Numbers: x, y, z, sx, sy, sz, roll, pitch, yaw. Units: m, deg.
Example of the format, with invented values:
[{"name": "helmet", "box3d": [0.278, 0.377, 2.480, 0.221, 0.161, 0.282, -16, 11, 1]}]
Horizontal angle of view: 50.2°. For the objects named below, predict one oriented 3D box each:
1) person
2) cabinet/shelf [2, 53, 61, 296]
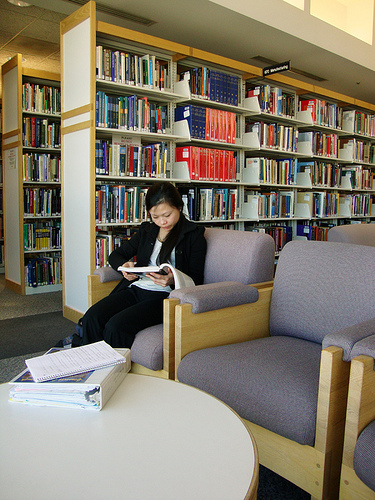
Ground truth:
[{"name": "person", "box3d": [-0.271, 0.197, 2.056, 0.486, 1.048, 0.624, 9, 6, 40]}, {"name": "cabinet/shelf", "box3d": [-1.788, -0.819, 4.603, 0.653, 2.587, 0.690, 0, 4, -18]}]
